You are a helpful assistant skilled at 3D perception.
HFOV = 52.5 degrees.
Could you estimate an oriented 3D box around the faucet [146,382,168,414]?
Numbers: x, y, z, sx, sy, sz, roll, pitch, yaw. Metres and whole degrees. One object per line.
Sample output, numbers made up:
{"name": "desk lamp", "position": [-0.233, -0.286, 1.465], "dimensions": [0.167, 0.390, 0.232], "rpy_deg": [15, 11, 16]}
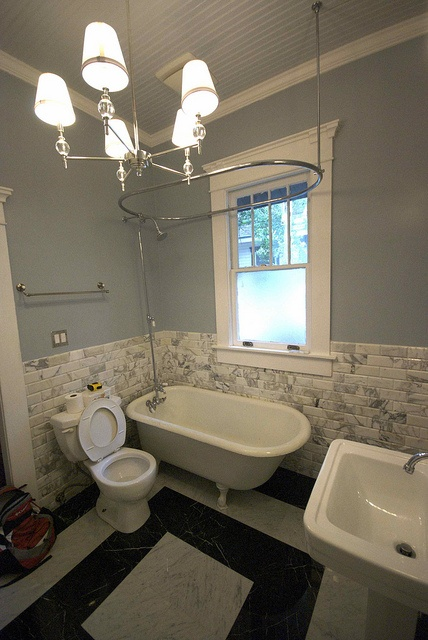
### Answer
{"name": "faucet", "position": [-0.433, 0.587, 3.271], "dimensions": [0.188, 0.214, 0.127], "rpy_deg": [16, 9, 31]}

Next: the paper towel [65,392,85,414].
{"name": "paper towel", "position": [-0.855, 0.509, 2.683], "dimensions": [0.104, 0.107, 0.103], "rpy_deg": [1, 2, 0]}

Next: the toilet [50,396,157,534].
{"name": "toilet", "position": [-0.630, 0.817, 2.618], "dimensions": [0.687, 0.729, 0.442], "rpy_deg": [4, 11, 42]}
